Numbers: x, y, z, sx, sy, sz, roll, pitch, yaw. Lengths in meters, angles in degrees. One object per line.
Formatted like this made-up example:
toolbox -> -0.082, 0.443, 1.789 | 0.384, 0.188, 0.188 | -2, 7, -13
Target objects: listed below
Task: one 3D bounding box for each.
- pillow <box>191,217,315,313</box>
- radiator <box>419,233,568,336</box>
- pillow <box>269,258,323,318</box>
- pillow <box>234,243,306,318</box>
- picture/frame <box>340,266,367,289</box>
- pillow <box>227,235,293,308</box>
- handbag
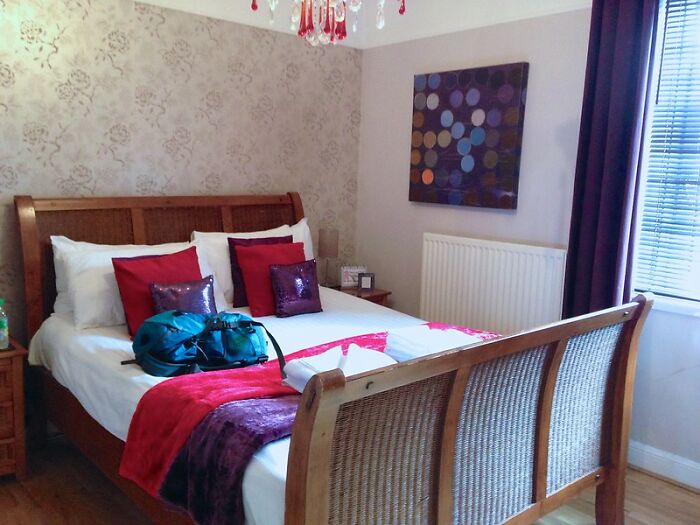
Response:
pillow -> -0.662, 0.034, 3.395 | 0.605, 0.400, 0.155 | -7, -5, -27
radiator -> 0.994, 0.138, 3.434 | 0.651, 0.478, 0.077 | 8, 10, 44
pillow -> -0.349, 0.173, 3.337 | 0.345, 0.328, 0.104 | -6, -8, -40
pillow -> -0.488, 0.094, 3.290 | 0.469, 0.445, 0.142 | -7, -6, -36
picture/frame -> 0.012, 0.110, 4.167 | 0.269, 0.276, 0.145 | 1, -1, -5
pillow -> -0.705, 0.059, 3.552 | 0.438, 0.448, 0.164 | -4, -14, -19
handbag -> -0.732, 0.411, 2.568 | 0.536, 0.213, 0.399 | 4, -4, -32
